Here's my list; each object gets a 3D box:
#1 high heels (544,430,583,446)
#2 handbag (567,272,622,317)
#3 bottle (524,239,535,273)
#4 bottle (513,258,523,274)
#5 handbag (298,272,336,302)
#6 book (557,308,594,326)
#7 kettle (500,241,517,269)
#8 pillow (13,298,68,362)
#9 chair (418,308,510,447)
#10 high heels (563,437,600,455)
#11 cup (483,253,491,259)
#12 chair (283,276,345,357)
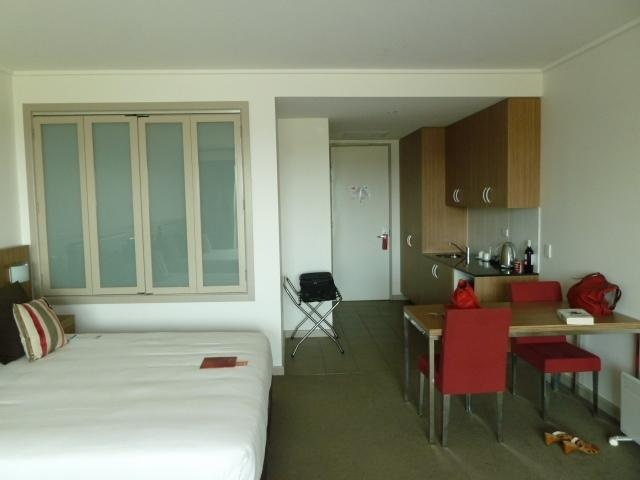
[{"bbox_3d":[1.973,1.597,4.194,0.267,0.083,0.105,-2,-10,-3],"label":"high heels"},{"bbox_3d":[2.430,0.500,4.582,0.477,0.431,0.349,5,-5,17],"label":"handbag"},{"bbox_3d":[2.231,0.181,5.514,0.099,0.329,0.183,4,14,21],"label":"bottle"},{"bbox_3d":[2.131,0.288,5.547,0.100,0.110,0.194,3,13,19],"label":"bottle"},{"bbox_3d":[-0.100,0.563,6.243,0.539,0.325,0.492,-2,2,-42],"label":"handbag"},{"bbox_3d":[2.104,0.628,4.277,0.250,0.064,0.291,0,13,5],"label":"book"},{"bbox_3d":[2.088,0.178,5.753,0.162,0.271,0.352,3,13,18],"label":"kettle"},{"bbox_3d":[-2.348,0.744,4.297,0.130,0.408,0.427,-20,19,16],"label":"pillow"},{"bbox_3d":[1.183,1.071,4.268,0.687,1.139,0.489,1,13,9],"label":"chair"},{"bbox_3d":[2.062,1.634,4.124,0.209,0.081,0.113,-6,8,3],"label":"high heels"},{"bbox_3d":[2.040,0.194,6.309,0.077,0.083,0.075,-2,9,0],"label":"cup"},{"bbox_3d":[-0.060,0.808,6.220,0.895,1.141,0.728,-2,7,-3],"label":"chair"}]
